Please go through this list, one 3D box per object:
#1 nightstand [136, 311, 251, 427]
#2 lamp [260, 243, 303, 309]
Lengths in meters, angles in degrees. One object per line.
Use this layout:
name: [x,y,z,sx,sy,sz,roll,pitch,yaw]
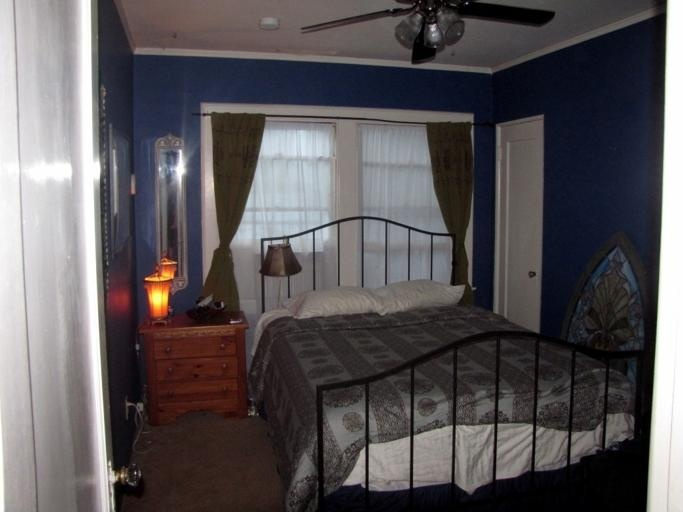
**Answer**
nightstand: [-0.996,0.707,4.029,0.788,0.868,0.601,-1,1,-10]
lamp: [-0.369,0.081,4.026,0.244,0.455,0.253,0,1,-4]
